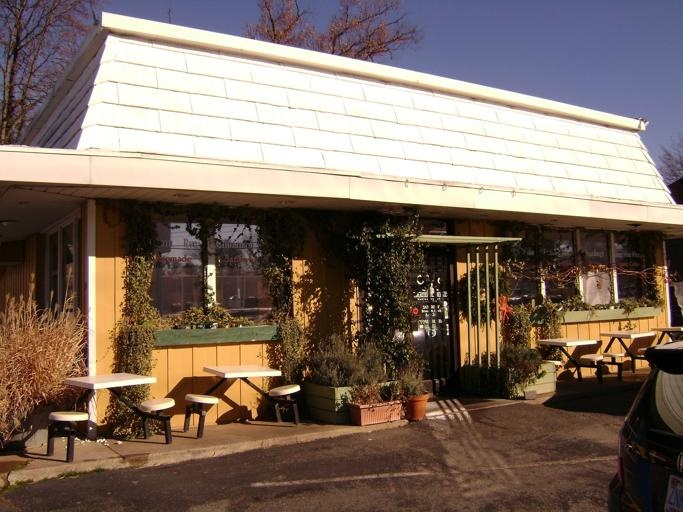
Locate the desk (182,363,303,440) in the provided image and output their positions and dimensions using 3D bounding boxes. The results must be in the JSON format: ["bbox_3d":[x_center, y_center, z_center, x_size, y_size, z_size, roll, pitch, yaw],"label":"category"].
[{"bbox_3d":[-1.525,2.278,9.742,1.751,0.960,0.904,5,-7,-25],"label":"desk"}]

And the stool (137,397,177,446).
[{"bbox_3d":[-2.653,2.467,9.087,0.398,0.485,0.394,2,-13,-39],"label":"stool"}]

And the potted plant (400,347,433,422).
[{"bbox_3d":[1.244,2.206,10.476,0.455,1.054,0.607,0,3,9],"label":"potted plant"}]

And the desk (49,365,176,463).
[{"bbox_3d":[-3.244,2.064,8.852,1.165,0.849,1.069,-5,-6,28],"label":"desk"}]

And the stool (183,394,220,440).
[{"bbox_3d":[-2.248,2.465,9.445,0.432,0.556,0.471,8,-10,10],"label":"stool"}]

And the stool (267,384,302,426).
[{"bbox_3d":[-0.938,2.370,10.107,0.553,0.718,0.604,-1,1,-1],"label":"stool"}]

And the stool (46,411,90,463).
[{"bbox_3d":[-3.843,2.467,8.396,0.461,0.581,0.485,5,-12,-8],"label":"stool"}]

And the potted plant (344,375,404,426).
[{"bbox_3d":[0.554,2.395,10.120,0.935,0.663,0.378,-2,3,-29],"label":"potted plant"}]
